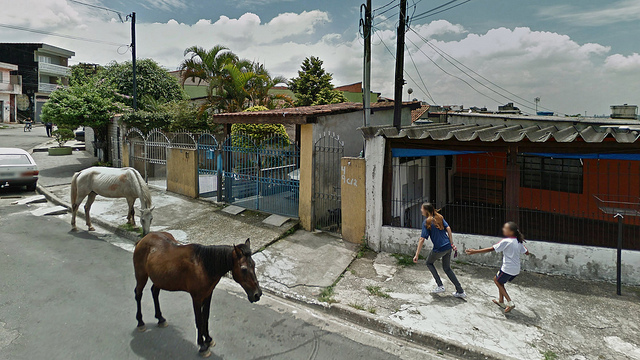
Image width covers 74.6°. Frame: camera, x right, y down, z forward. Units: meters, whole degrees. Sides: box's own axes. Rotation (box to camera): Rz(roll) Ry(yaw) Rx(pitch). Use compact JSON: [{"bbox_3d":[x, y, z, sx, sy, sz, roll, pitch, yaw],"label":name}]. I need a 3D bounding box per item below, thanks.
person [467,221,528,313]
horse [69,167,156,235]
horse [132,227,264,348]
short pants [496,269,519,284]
[{"bbox_3d":[5.137,2.424,11.937,1.287,2.472,0.788,0,9,5],"label":"person"},{"bbox_3d":[-7.634,0.702,15.378,4.239,2.303,1.609,4,10,28],"label":"horse"},{"bbox_3d":[-3.484,2.858,11.360,4.733,2.931,1.442,5,6,30],"label":"horse"},{"bbox_3d":[5.085,2.716,11.875,0.479,0.334,0.634,0,-17,-21],"label":"short pants"}]
